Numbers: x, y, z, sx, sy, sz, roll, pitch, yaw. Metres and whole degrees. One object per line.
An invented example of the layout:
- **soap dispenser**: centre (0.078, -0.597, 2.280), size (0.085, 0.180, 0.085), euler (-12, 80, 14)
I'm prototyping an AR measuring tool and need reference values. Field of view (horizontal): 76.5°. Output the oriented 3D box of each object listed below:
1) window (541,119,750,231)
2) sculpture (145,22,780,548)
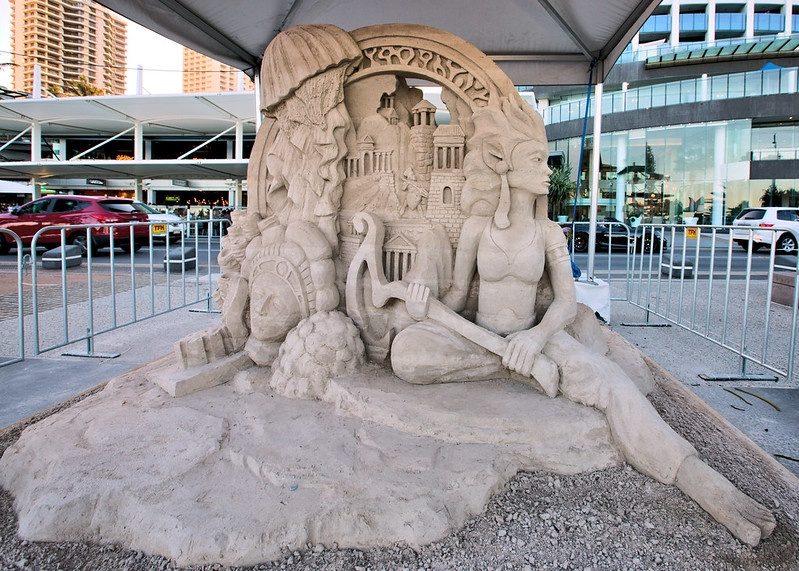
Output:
- **window**: centre (9.831, -3.915, 18.656), size (0.063, 3.504, 6.028), euler (-16, 17, -26)
- **sculpture**: centre (0.178, -0.520, 4.325), size (4.619, 2.744, 3.222), euler (0, 17, 1)
